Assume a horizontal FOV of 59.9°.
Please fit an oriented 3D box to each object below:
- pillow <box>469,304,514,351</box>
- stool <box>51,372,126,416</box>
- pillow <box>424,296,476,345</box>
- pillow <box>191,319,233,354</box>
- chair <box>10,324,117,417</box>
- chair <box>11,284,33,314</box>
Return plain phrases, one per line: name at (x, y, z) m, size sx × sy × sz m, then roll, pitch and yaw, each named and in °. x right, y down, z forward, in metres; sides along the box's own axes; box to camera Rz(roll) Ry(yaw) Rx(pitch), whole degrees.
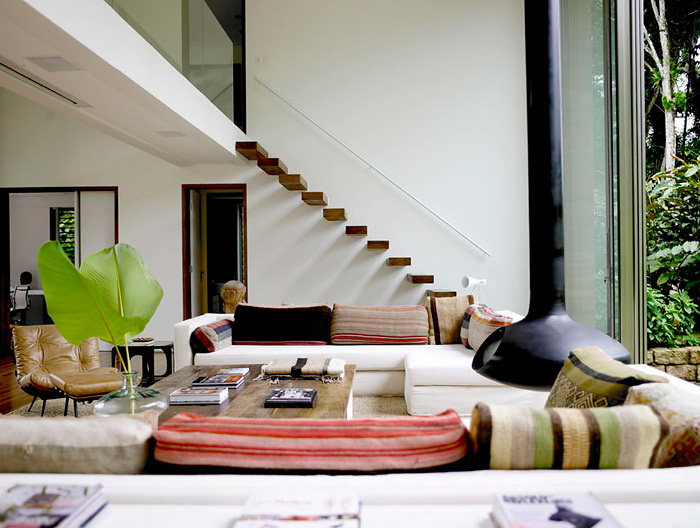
pillow at (1.164, 0.507, 5.262) m, size 0.497 × 0.243 × 0.657 m, roll -2°, pitch 2°, yaw 12°
stool at (-2.115, 0.947, 4.802) m, size 0.460 × 0.330 × 0.531 m, roll 0°, pitch -1°, yaw -39°
pillow at (0.925, 0.557, 5.957) m, size 0.501 × 0.497 × 0.198 m, roll -1°, pitch -5°, yaw -29°
pillow at (-1.278, 0.671, 5.631) m, size 0.116 × 0.211 × 0.321 m, roll -11°, pitch 2°, yaw 36°
chair at (-2.217, 0.849, 4.940) m, size 0.883 × 0.695 × 0.792 m, roll 3°, pitch -1°, yaw 35°
chair at (-4.719, 0.498, 8.684) m, size 0.308 × 0.480 × 0.350 m, roll 0°, pitch 4°, yaw -30°
